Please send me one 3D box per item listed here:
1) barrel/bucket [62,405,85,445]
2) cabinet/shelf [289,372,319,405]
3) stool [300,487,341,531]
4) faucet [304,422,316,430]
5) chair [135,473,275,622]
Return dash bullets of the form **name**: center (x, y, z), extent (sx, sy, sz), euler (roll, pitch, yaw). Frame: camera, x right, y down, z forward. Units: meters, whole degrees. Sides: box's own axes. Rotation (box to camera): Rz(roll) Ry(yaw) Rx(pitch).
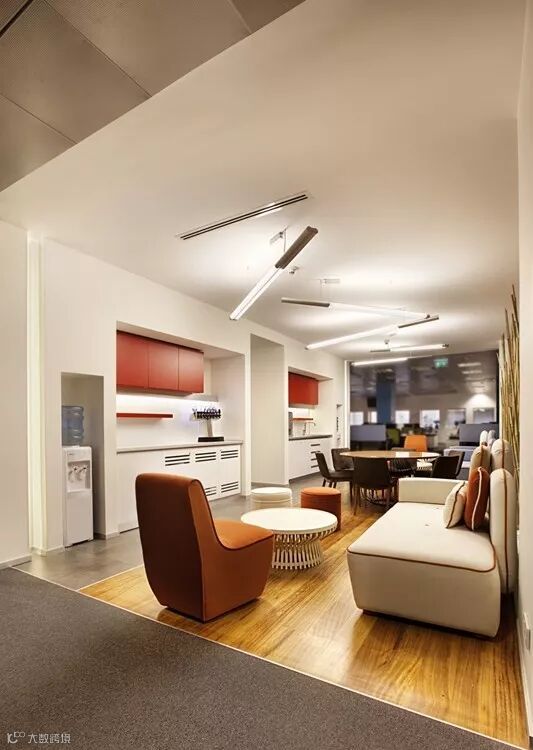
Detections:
- **barrel/bucket**: center (-1.947, 0.507, 4.702), extent (0.178, 0.388, 0.346), euler (0, -5, -3)
- **cabinet/shelf**: center (0.728, 0.329, 10.050), extent (0.515, 0.778, 1.041), euler (-6, -11, 29)
- **stool**: center (0.589, 1.369, 4.966), extent (0.337, 0.431, 0.396), euler (0, -4, -12)
- **faucet**: center (1.014, 1.176, 10.894), extent (0.079, 0.253, 0.684), euler (-2, -5, 19)
- **chair**: center (-0.336, 0.953, 2.851), extent (0.486, 0.873, 0.699), euler (0, 2, 41)
